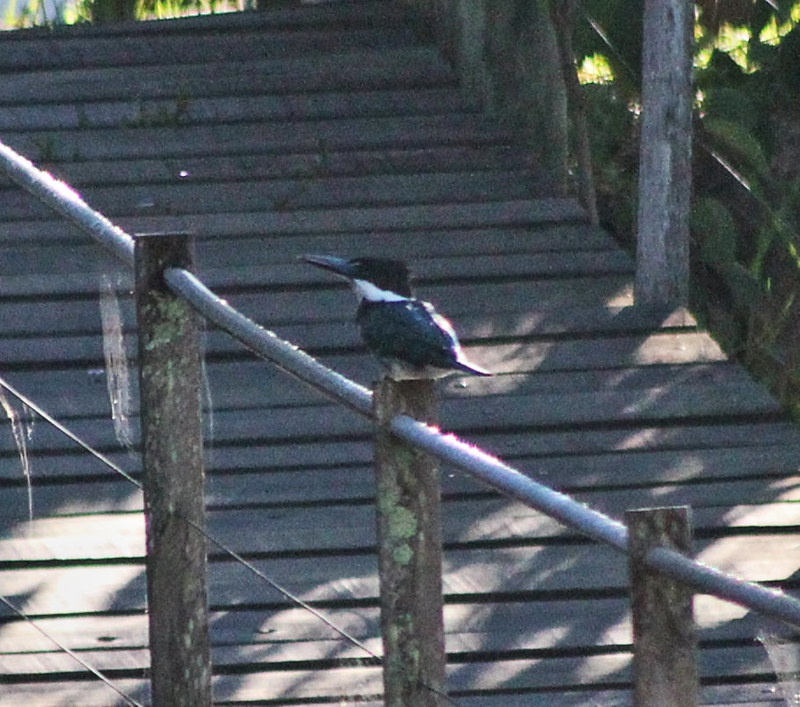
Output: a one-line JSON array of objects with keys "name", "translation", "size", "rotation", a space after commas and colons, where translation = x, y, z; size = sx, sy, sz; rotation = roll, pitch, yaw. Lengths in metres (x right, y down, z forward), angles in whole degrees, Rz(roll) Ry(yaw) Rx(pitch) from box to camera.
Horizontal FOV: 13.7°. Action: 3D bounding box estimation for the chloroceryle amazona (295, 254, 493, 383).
[{"name": "chloroceryle amazona", "translation": [-0.016, -0.146, 14.796], "size": [0.914, 0.547, 0.337], "rotation": [9, 12, 18]}]
